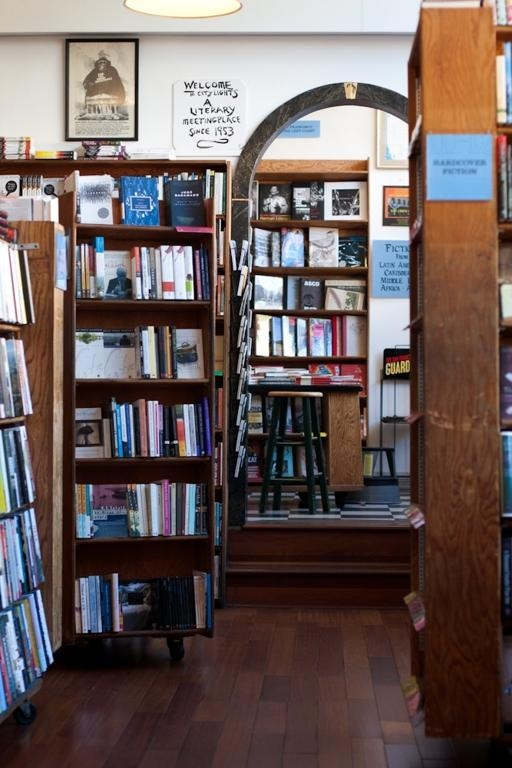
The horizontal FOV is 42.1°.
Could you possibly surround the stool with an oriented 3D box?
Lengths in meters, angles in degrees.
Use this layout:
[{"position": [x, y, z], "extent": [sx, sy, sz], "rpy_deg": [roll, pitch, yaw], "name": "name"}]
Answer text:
[{"position": [0.182, 0.459, 4.566], "extent": [0.476, 0.847, 0.511], "rpy_deg": [2, 0, 7], "name": "stool"}]
